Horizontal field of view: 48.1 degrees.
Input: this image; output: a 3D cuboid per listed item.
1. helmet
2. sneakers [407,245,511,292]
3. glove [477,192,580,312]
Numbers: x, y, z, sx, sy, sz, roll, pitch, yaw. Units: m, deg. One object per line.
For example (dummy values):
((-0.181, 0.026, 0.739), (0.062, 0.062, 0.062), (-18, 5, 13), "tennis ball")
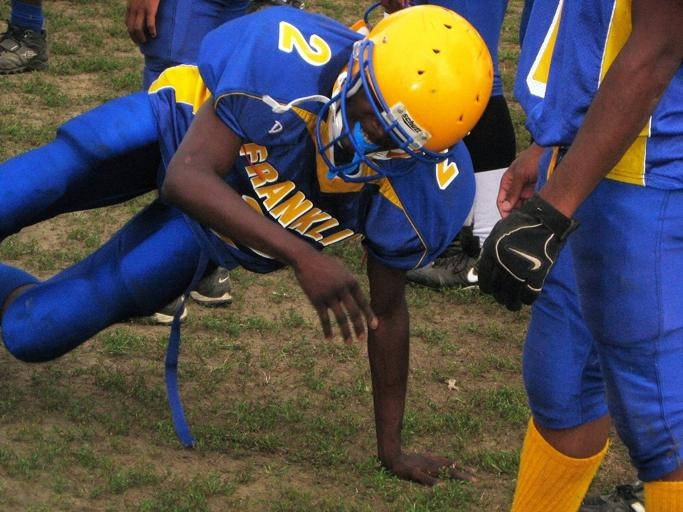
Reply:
((0.195, -0.472, 2.356), (0.507, 0.542, 0.285), (10, 27, -4), "helmet")
((0.611, 0.060, 4.046), (0.510, 0.236, 0.173), (5, 5, -5), "sneakers")
((0.500, -0.013, 2.069), (0.216, 0.304, 0.094), (35, 37, 13), "glove")
